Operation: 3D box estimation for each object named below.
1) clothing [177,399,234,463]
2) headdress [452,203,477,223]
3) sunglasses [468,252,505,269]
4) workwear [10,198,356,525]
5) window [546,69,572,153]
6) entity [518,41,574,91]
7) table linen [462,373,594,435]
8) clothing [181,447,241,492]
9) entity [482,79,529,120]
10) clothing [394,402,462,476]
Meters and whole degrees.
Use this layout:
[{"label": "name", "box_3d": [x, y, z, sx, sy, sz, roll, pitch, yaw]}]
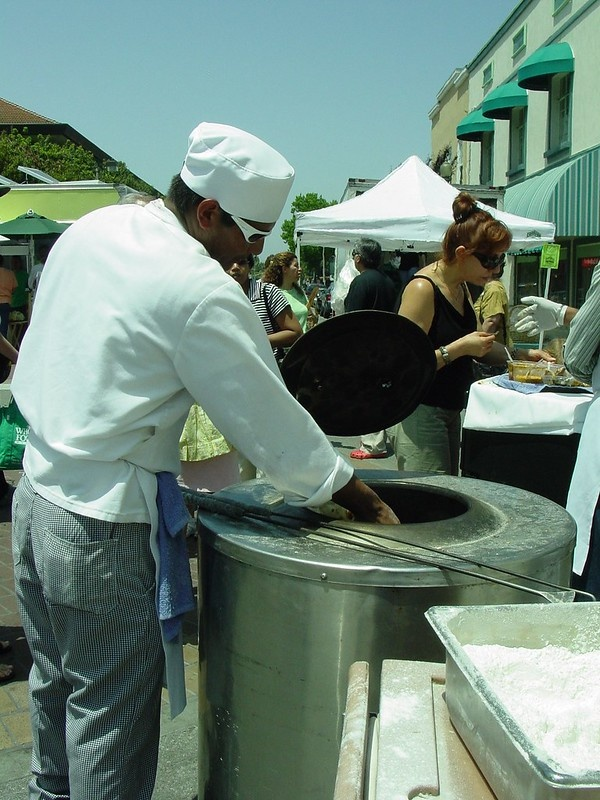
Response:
[{"label": "clothing", "box_3d": [-0.457, 0.124, 3.597, 0.293, 0.254, 0.181, -9, 12, 26]}, {"label": "headdress", "box_3d": [0.654, -0.737, 3.105, 0.088, 0.098, 0.039, 2, -26, 24]}, {"label": "sunglasses", "box_3d": [0.724, -0.529, 2.994, 0.081, 0.075, 0.023, -12, -33, -47]}, {"label": "workwear", "box_3d": [-0.258, -0.057, 1.705, 0.590, 0.582, 0.966, 2, 12, -37]}, {"label": "window", "box_3d": [5.040, -5.487, 14.914, 0.163, 1.217, 0.750, -11, 14, -18]}, {"label": "entity", "box_3d": [4.541, -6.193, 14.540, 0.769, 0.636, 1.341, 2, 6, 1]}, {"label": "table linen", "box_3d": [0.969, 0.032, 3.291, 0.340, 0.094, 0.303, -2, 14, -6]}, {"label": "clothing", "box_3d": [-0.432, 0.318, 3.784, 0.268, 0.159, 0.241, -2, -3, 2]}, {"label": "entity", "box_3d": [4.539, -6.601, 17.361, 1.125, 0.511, 0.994, -7, 24, -3]}, {"label": "clothing", "box_3d": [0.534, 0.161, 3.223, 0.298, 0.126, 0.361, 10, -35, 1]}]
